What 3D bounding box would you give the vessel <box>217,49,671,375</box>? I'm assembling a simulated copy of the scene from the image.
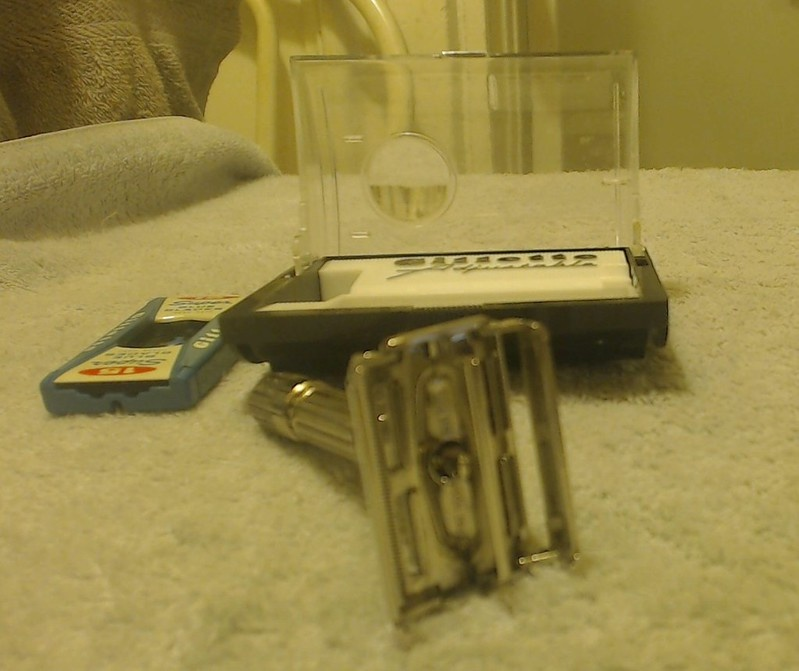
[{"bbox_3d":[0.030,-0.071,0.513,0.259,0.141,0.160,-3,29,17],"label":"vessel"}]
